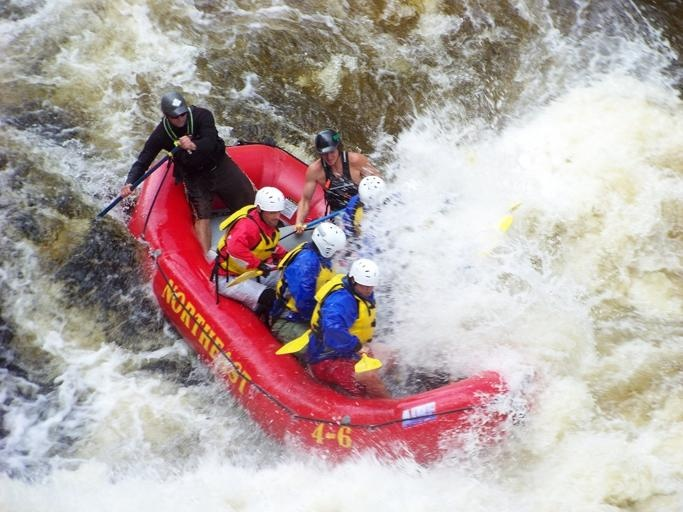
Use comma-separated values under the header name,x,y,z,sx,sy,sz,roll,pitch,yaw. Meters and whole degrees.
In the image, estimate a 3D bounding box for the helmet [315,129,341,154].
name,x,y,z,sx,sy,sz,roll,pitch,yaw
helmet,-0.171,-1.357,10.901,0.236,0.248,0.312,-10,47,28

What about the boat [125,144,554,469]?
name,x,y,z,sx,sy,sz,roll,pitch,yaw
boat,-0.646,1.255,10.938,2.529,1.216,5.204,-38,73,-13

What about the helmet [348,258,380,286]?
name,x,y,z,sx,sy,sz,roll,pitch,yaw
helmet,0.245,0.198,10.024,0.252,0.330,0.257,14,93,-32

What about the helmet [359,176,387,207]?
name,x,y,z,sx,sy,sz,roll,pitch,yaw
helmet,0.378,-0.796,10.938,0.289,0.359,0.351,25,105,2

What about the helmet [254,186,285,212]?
name,x,y,z,sx,sy,sz,roll,pitch,yaw
helmet,-0.855,-0.669,10.571,0.258,0.241,0.321,-8,51,-21

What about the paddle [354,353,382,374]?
name,x,y,z,sx,sy,sz,roll,pitch,yaw
paddle,0.292,1.191,9.866,0.257,0.253,0.153,-19,89,11
